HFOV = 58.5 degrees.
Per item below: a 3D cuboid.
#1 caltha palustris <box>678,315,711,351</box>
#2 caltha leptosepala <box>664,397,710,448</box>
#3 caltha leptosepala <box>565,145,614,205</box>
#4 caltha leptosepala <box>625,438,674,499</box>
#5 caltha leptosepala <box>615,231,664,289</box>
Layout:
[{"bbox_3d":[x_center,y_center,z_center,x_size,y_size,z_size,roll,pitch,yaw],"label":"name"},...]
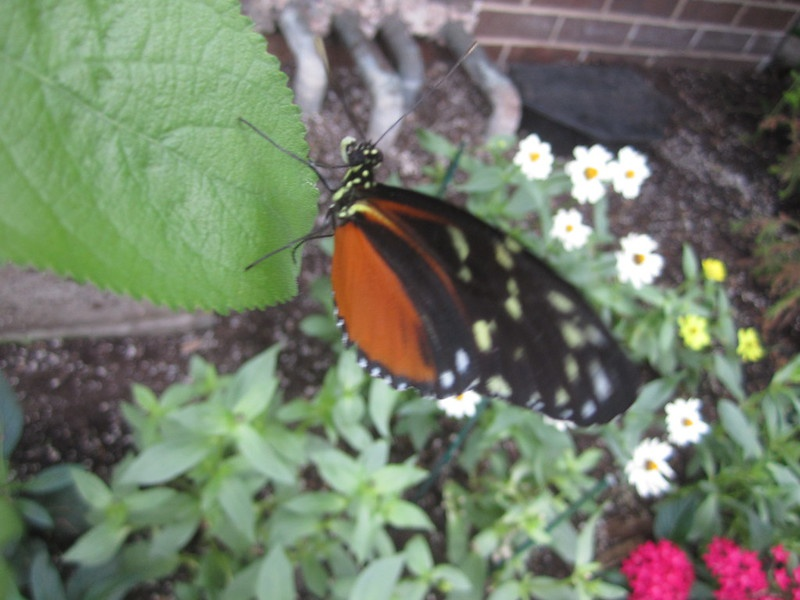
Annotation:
[{"bbox_3d":[0.574,0.060,1.395,0.060,0.051,0.069,28,68,4],"label":"caltha palustris"},{"bbox_3d":[0.346,-0.233,1.309,0.107,0.106,0.029,-10,103,-31],"label":"caltha leptosepala"},{"bbox_3d":[0.345,-0.229,1.301,0.087,0.025,0.104,4,98,7],"label":"caltha leptosepala"},{"bbox_3d":[0.473,0.328,1.374,0.091,0.111,0.098,-20,72,-14],"label":"caltha leptosepala"},{"bbox_3d":[0.448,-0.077,1.351,0.077,0.057,0.124,-3,114,-7],"label":"caltha leptosepala"}]
